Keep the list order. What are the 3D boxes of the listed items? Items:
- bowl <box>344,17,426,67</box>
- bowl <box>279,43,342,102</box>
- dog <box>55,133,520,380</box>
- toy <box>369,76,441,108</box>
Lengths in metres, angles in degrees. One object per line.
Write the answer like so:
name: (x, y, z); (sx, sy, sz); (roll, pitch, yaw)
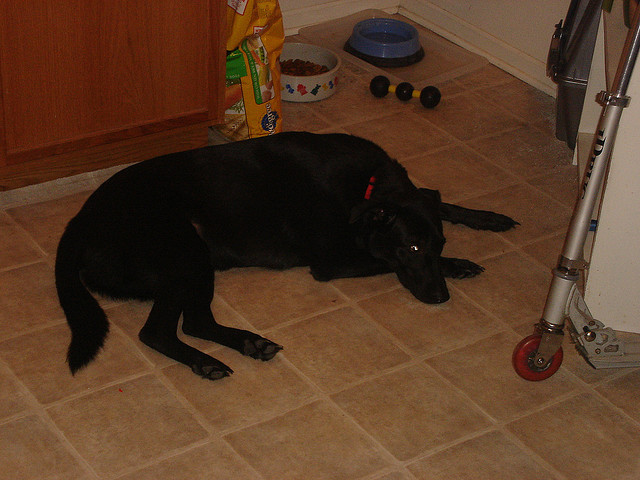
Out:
bowl: (0.402, -1.311, 3.631); (0.492, 0.123, 0.479); (3, 33, -2)
bowl: (-0.082, -0.985, 3.192); (0.473, 0.140, 0.408); (17, 38, 20)
dog: (-0.121, -0.031, 2.037); (1.689, 0.415, 0.945); (-9, 45, -16)
toy: (0.477, -0.844, 3.130); (0.405, 0.131, 0.117); (15, 43, 17)
